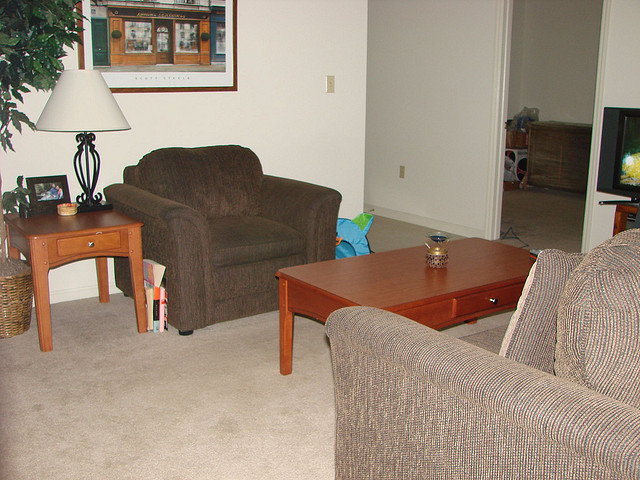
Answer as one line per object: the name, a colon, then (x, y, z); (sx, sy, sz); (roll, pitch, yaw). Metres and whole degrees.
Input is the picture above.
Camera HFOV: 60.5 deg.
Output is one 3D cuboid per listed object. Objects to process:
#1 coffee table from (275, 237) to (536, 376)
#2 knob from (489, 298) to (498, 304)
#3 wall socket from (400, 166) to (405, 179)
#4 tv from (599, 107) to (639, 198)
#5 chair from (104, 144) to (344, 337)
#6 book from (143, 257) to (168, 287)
coffee table: (0.545, 0.412, 2.928); (1.477, 0.547, 0.901); (-6, 11, -35)
knob: (0.808, 0.286, 2.569); (0.034, 0.019, 0.020); (15, -20, 47)
wall socket: (0.898, -0.757, 6.077); (0.012, 0.126, 0.067); (-12, 17, -38)
tv: (2.257, -0.671, 4.149); (0.078, 0.655, 0.368); (-9, 16, -30)
chair: (-0.633, -0.073, 3.588); (1.275, 0.921, 0.970); (-7, 19, -34)
book: (-0.943, 0.189, 3.156); (0.047, 0.105, 0.162); (2, 9, -41)
